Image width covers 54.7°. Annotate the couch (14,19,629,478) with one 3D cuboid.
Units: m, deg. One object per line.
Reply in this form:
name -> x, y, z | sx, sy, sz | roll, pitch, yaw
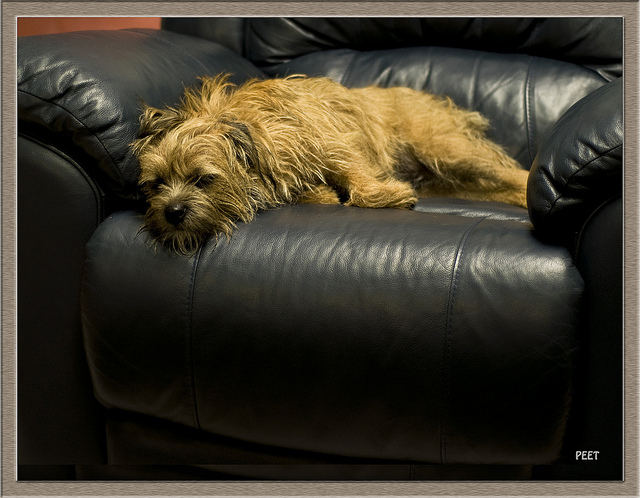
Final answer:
couch -> 0.139, -0.268, 2.227 | 1.623, 1.558, 1.676 | -1, -2, 10
